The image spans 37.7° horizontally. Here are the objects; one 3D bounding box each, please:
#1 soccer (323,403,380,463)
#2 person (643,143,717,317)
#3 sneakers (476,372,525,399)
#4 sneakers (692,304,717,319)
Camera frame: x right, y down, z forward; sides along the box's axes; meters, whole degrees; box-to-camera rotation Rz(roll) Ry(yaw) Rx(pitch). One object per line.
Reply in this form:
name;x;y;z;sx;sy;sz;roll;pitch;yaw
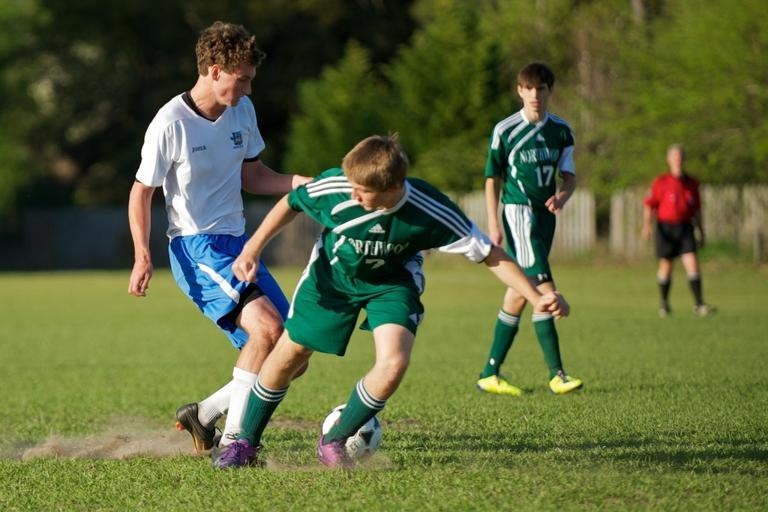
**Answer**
soccer;-0.271;1.613;10.364;0.486;0.536;0.448;15;2;29
person;2.877;-0.234;10.973;0.676;1.658;0.224;1;10;12
sneakers;1.235;1.367;11.888;0.481;0.217;0.181;1;1;21
sneakers;3.129;0.531;10.982;0.103;0.102;0.204;-16;2;-43
